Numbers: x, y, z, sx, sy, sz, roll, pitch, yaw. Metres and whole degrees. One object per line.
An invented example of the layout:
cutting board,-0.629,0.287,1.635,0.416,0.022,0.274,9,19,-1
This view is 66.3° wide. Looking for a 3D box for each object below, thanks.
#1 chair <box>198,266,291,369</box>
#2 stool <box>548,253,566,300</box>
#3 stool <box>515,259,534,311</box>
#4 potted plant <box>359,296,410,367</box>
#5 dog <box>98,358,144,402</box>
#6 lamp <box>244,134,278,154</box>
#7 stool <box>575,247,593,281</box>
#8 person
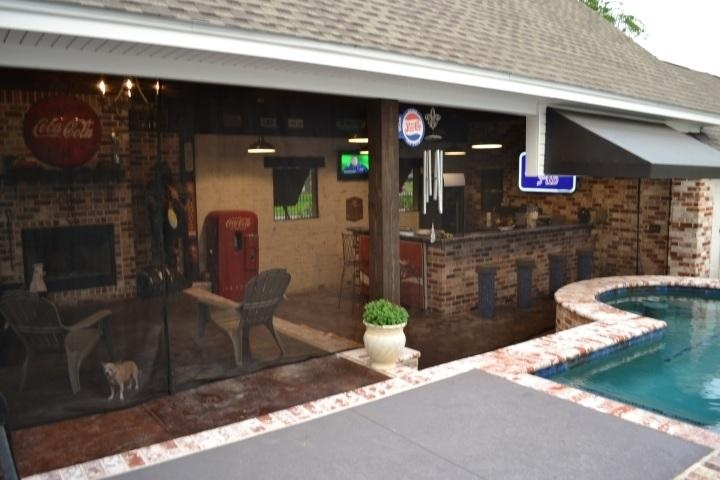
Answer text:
chair,-1.817,1.192,8.708,1.334,1.446,1.241,4,4,38
stool,5.261,0.913,14.742,0.411,1.096,0.327,1,12,15
stool,4.064,1.091,13.581,0.390,1.145,0.328,0,12,12
potted plant,0.323,1.435,8.932,0.988,1.230,0.869,1,-2,-42
dog,-3.371,1.935,7.866,0.238,0.528,0.936,3,2,9
lamp,-1.582,-1.518,8.637,0.317,0.220,0.330,0,1,-4
stool,6.514,0.713,16.032,0.409,0.918,0.437,2,12,21
person,-2.800,-0.298,7.835,0.204,1.584,0.481,6,14,33
